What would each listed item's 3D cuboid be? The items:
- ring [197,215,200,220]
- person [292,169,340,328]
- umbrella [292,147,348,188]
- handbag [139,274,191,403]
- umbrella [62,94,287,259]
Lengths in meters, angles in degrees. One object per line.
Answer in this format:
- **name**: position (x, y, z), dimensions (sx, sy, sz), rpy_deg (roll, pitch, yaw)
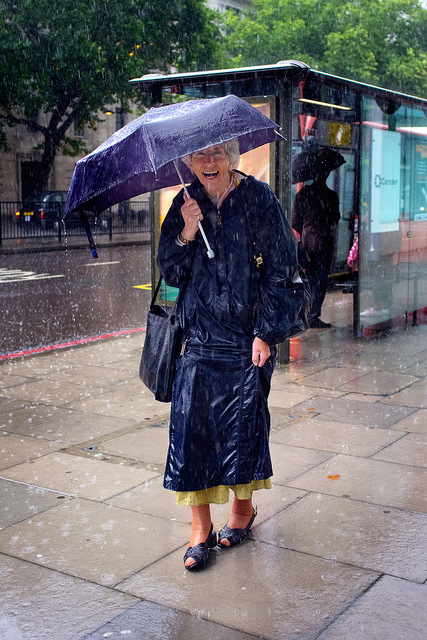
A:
- **ring**: position (-0.061, -0.404, 3.035), dimensions (0.004, 0.017, 0.012), rpy_deg (-16, 20, -1)
- **person**: position (1.243, -0.878, 9.365), dimensions (0.483, 1.905, 0.896), rpy_deg (6, 10, 40)
- **umbrella**: position (1.273, -1.977, 9.783), dimensions (0.488, 0.427, 0.625), rpy_deg (3, 9, 25)
- **handbag**: position (-0.217, 0.079, 3.319), dimensions (0.187, 0.540, 0.285), rpy_deg (-5, 9, -30)
- **umbrella**: position (-0.195, -0.594, 3.210), dimensions (0.848, 0.663, 0.928), rpy_deg (-2, 8, -12)
